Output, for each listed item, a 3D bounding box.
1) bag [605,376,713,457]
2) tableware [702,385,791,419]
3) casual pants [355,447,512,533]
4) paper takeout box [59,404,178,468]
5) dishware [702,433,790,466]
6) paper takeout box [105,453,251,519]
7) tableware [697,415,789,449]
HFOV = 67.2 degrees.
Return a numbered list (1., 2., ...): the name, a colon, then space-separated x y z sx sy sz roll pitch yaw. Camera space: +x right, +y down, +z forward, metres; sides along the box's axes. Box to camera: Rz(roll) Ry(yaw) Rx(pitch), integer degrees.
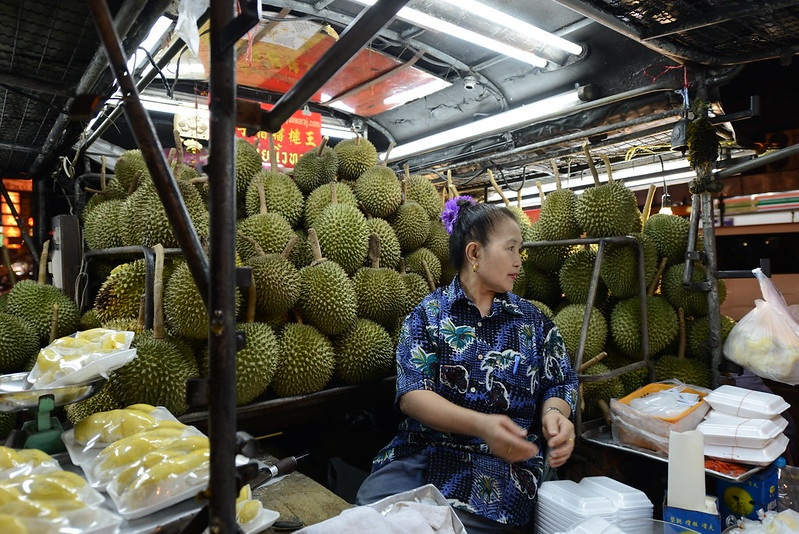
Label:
1. bag: 1.209 0.684 2.739 0.431 0.218 0.326 -7 6 -36
2. tableware: 1.476 0.589 2.578 0.295 0.105 0.167 0 6 34
3. casual pants: 0.106 0.882 2.364 0.370 0.109 0.378 9 8 36
4. paper takeout box: -0.979 0.542 2.092 0.381 0.089 0.399 3 8 35
5. dishware: 1.460 0.764 2.474 0.391 0.084 0.153 -4 5 -9
6. paper takeout box: -0.675 0.667 1.859 0.364 0.049 0.234 -20 31 -28
7. tableware: 1.394 0.680 2.482 0.206 0.063 0.225 0 1 39
